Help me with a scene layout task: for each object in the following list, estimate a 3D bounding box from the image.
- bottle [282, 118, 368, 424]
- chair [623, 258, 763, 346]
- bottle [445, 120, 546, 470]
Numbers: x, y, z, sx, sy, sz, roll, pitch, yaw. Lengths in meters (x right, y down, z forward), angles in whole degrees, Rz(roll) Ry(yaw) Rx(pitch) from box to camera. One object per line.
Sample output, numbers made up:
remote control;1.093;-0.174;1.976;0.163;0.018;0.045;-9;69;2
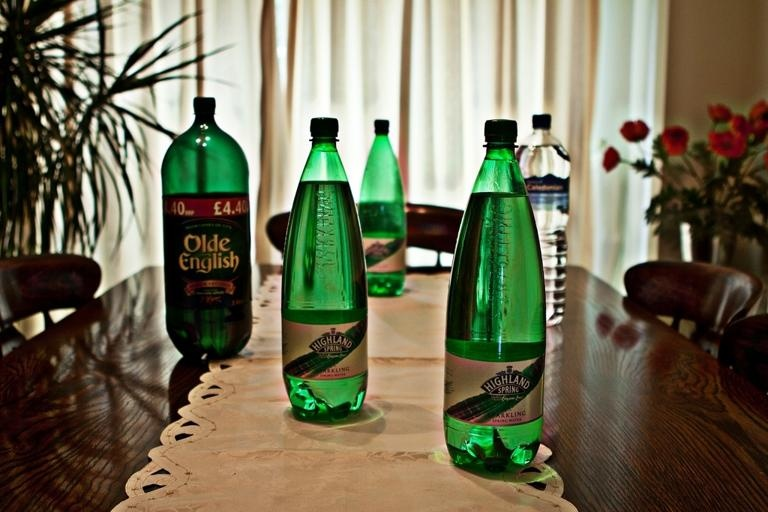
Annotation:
bottle;-0.085;0.018;0.906;0.121;0.417;0.108;-2;7;-5
chair;0.695;0.070;1.420;0.212;0.208;0.201;-20;21;-38
bottle;0.140;0.048;0.815;0.124;0.433;0.105;0;7;11
